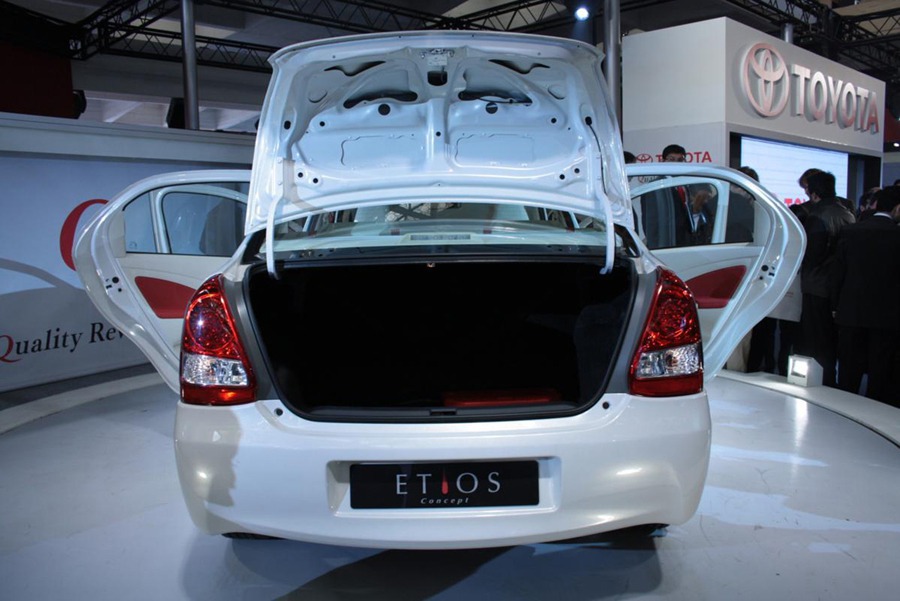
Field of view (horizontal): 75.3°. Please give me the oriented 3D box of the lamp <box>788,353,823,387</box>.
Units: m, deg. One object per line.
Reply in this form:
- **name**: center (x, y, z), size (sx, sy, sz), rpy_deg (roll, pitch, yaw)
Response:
- **lamp**: center (2.883, 0.560, 4.855), size (0.225, 0.299, 0.274), rpy_deg (10, -5, -15)

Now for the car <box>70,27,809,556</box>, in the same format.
- **car**: center (-0.008, 0.033, 3.567), size (2.578, 1.550, 2.802), rpy_deg (-1, 4, 0)
